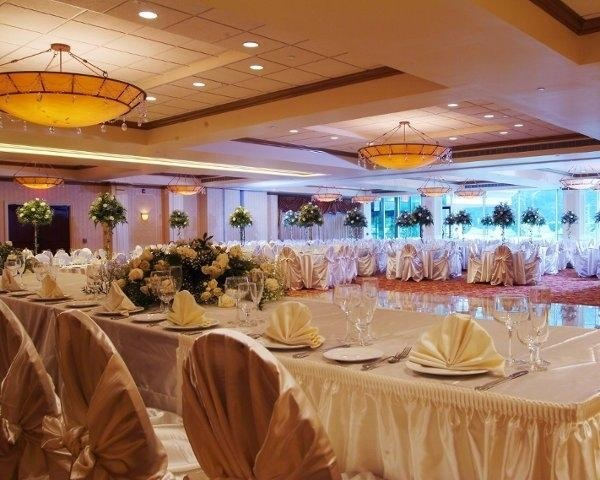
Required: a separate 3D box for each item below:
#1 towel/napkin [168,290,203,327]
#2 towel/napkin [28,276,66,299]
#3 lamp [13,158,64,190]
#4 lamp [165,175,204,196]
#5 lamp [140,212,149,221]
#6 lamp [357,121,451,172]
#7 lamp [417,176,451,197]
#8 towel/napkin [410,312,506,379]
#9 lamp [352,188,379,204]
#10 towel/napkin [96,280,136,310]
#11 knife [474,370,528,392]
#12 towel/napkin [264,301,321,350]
[{"bbox_3d":[-0.669,0.399,2.649,0.184,0.205,0.126,3,13,-26],"label":"towel/napkin"},{"bbox_3d":[-2.029,0.391,3.705,0.202,0.221,0.216,5,-5,-43],"label":"towel/napkin"},{"bbox_3d":[-7.528,-1.611,13.309,1.250,0.807,1.282,2,-5,-34],"label":"lamp"},{"bbox_3d":[-4.063,-1.950,16.258,1.113,0.724,1.194,1,6,-12],"label":"lamp"},{"bbox_3d":[-6.219,-0.954,18.438,0.246,0.333,0.284,0,0,-8],"label":"lamp"},{"bbox_3d":[2.019,-1.858,9.077,1.860,1.074,1.931,0,3,8],"label":"lamp"},{"bbox_3d":[5.392,-2.203,18.628,1.004,1.185,1.053,-1,-2,30],"label":"lamp"},{"bbox_3d":[0.628,0.434,1.893,0.388,0.224,0.148,-2,-12,28],"label":"towel/napkin"},{"bbox_3d":[2.950,-2.094,22.029,1.037,0.760,1.077,0,0,41],"label":"lamp"},{"bbox_3d":[-1.242,0.314,3.124,0.179,0.219,0.205,-20,49,-39],"label":"towel/napkin"},{"bbox_3d":[0.750,0.516,1.712,0.333,0.014,0.049,-2,-4,-36],"label":"knife"},{"bbox_3d":[0.003,0.461,2.290,0.263,0.103,0.254,10,-32,-34],"label":"towel/napkin"}]
